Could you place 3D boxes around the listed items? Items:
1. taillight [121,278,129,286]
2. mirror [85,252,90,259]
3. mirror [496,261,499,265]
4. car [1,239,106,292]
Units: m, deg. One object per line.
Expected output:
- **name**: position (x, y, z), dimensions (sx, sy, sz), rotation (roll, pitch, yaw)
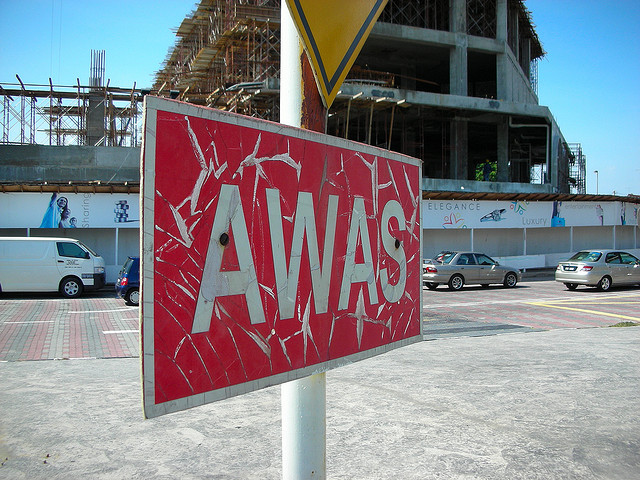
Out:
- **taillight**: position (-5.893, 1.232, 20.306), dimensions (0.163, 0.377, 0.215), rotation (4, -8, -5)
- **mirror**: position (-7.969, 0.523, 23.132), dimensions (0.158, 0.210, 0.154), rotation (1, 3, 18)
- **mirror**: position (7.552, 0.973, 29.209), dimensions (0.087, 0.153, 0.112), rotation (-8, -9, 28)
- **car**: position (-9.132, 0.751, 23.230), dimensions (2.249, 1.512, 1.618), rotation (-1, -1, -14)
